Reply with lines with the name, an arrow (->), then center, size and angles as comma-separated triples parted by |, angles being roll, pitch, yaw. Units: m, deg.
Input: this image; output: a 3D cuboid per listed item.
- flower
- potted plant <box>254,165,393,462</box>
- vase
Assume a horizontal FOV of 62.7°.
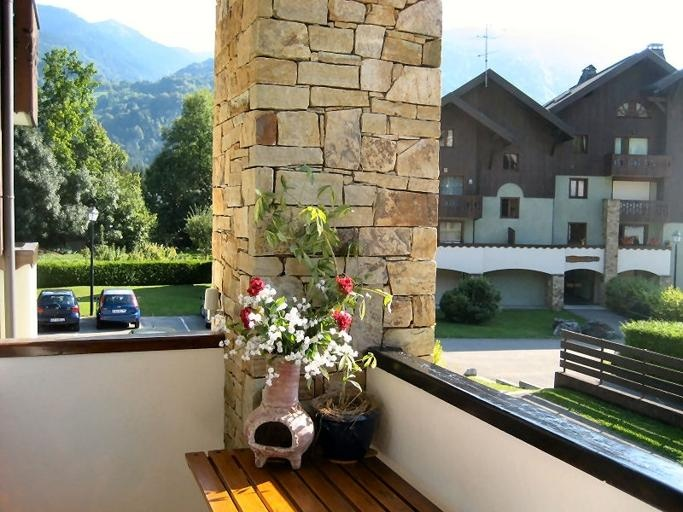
flower -> -0.331, 0.405, 3.303 | 0.564, 0.429, 0.497 | -1, 8, -29
potted plant -> -0.270, 0.396, 3.410 | 0.906, 1.686, 0.664 | 2, -5, 36
vase -> -0.353, 0.920, 3.327 | 0.380, 0.607, 0.351 | 2, 0, 13
